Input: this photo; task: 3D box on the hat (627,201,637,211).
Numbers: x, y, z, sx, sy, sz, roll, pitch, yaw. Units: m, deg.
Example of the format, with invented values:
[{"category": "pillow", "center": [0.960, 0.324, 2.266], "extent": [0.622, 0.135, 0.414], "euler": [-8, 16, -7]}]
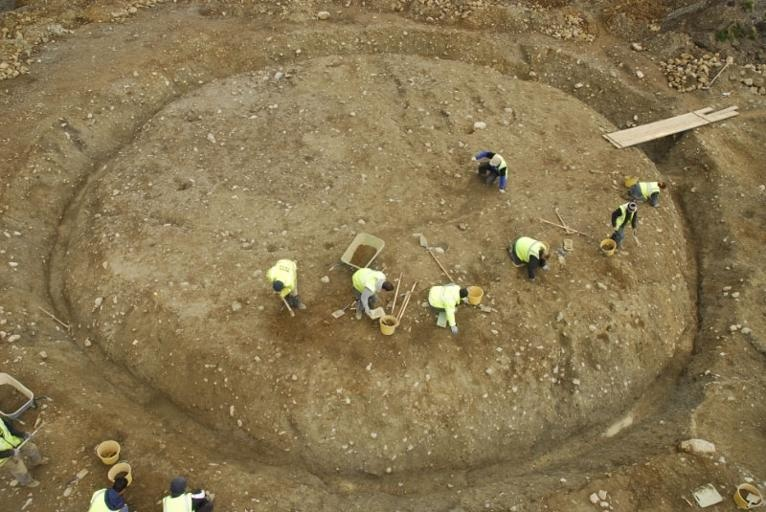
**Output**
[{"category": "hat", "center": [6.780, -1.366, 28.506], "extent": [0.267, 0.315, 0.282], "euler": [-4, 81, -2]}]

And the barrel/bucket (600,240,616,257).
[{"category": "barrel/bucket", "center": [6.216, -0.246, 28.893], "extent": [0.389, 0.284, 0.452], "euler": [-19, 63, 4]}]

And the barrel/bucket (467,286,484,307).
[{"category": "barrel/bucket", "center": [2.482, 1.076, 28.112], "extent": [0.414, 0.365, 0.502], "euler": [-4, 58, 3]}]

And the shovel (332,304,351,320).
[{"category": "shovel", "center": [-1.130, 1.523, 28.061], "extent": [0.648, 0.099, 0.217], "euler": [-37, 78, -16]}]

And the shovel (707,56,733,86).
[{"category": "shovel", "center": [10.374, -5.676, 32.152], "extent": [1.045, 0.163, 0.280], "euler": [-50, 38, 13]}]

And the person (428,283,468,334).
[{"category": "person", "center": [1.665, 1.291, 27.572], "extent": [1.038, 0.776, 1.674], "euler": [7, 55, -7]}]

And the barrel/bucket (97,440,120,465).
[{"category": "barrel/bucket", "center": [-7.086, 5.100, 26.864], "extent": [0.594, 0.327, 0.628], "euler": [0, 81, -1]}]

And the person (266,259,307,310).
[{"category": "person", "center": [-2.575, 0.791, 27.678], "extent": [0.856, 1.475, 1.418], "euler": [-17, 82, -4]}]

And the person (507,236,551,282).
[{"category": "person", "center": [3.976, -0.098, 28.537], "extent": [1.174, 0.660, 0.894], "euler": [26, 53, 28]}]

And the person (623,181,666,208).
[{"category": "person", "center": [7.456, -1.818, 29.560], "extent": [0.779, 0.325, 0.826], "euler": [3, 73, -1]}]

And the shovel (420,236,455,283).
[{"category": "shovel", "center": [1.473, 0.159, 28.718], "extent": [0.183, 0.184, 1.355], "euler": [-21, 66, -26]}]

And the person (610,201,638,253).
[{"category": "person", "center": [6.646, -0.856, 28.813], "extent": [0.662, 1.442, 0.612], "euler": [21, 33, 15]}]

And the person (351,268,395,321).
[{"category": "person", "center": [-0.304, 1.182, 27.840], "extent": [0.784, 1.504, 1.030], "euler": [-2, 43, -29]}]

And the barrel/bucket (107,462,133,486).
[{"category": "barrel/bucket", "center": [-6.707, 5.573, 26.539], "extent": [0.541, 0.400, 0.569], "euler": [1, 75, -5]}]

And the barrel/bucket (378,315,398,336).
[{"category": "barrel/bucket", "center": [0.127, 1.842, 27.768], "extent": [0.512, 0.370, 0.442], "euler": [-10, 66, -9]}]

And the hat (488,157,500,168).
[{"category": "hat", "center": [3.118, -2.638, 29.181], "extent": [0.253, 0.265, 0.209], "euler": [11, 98, 0]}]
